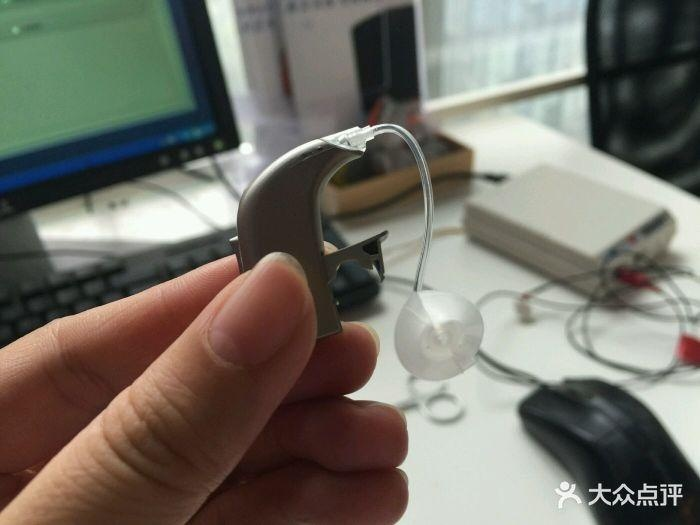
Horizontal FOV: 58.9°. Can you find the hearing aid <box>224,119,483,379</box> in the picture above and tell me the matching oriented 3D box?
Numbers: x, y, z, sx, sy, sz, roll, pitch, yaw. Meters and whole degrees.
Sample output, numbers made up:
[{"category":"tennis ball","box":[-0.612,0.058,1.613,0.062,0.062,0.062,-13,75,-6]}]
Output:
[{"category":"hearing aid","box":[0.010,-0.014,0.524,0.200,0.209,0.112,-3,28,11]}]
